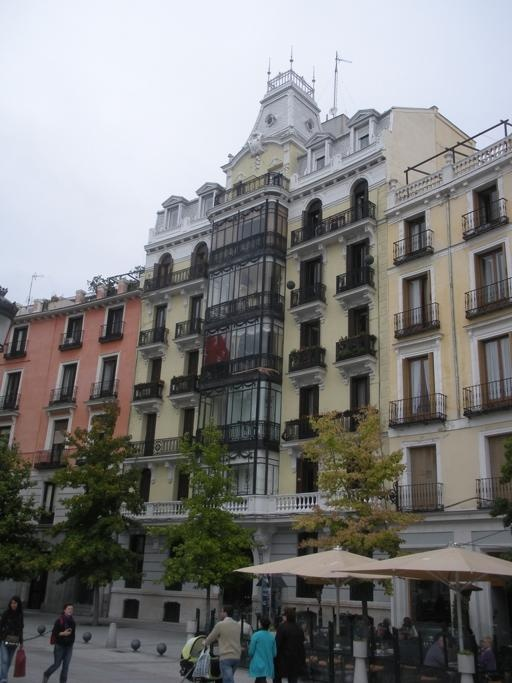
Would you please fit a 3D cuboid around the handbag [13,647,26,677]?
[{"bbox_3d":[-3.980,5.394,11.319,0.167,0.463,0.407,9,-23,-16],"label":"handbag"}]

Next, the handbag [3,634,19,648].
[{"bbox_3d":[-4.127,5.045,11.314,0.214,0.153,0.086,3,-2,-16],"label":"handbag"}]

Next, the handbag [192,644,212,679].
[{"bbox_3d":[-0.871,5.226,10.916,0.281,0.486,0.349,4,-23,-4],"label":"handbag"}]
